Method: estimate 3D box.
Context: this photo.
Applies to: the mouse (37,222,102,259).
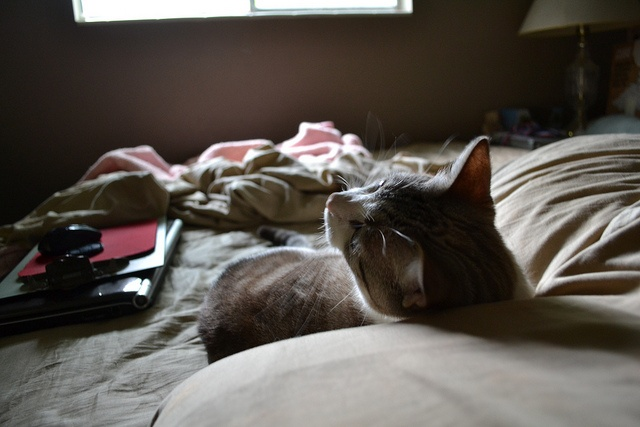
[{"bbox_3d":[-0.865,0.091,1.773,0.176,0.067,0.113,-21,71,-31],"label":"mouse"}]
